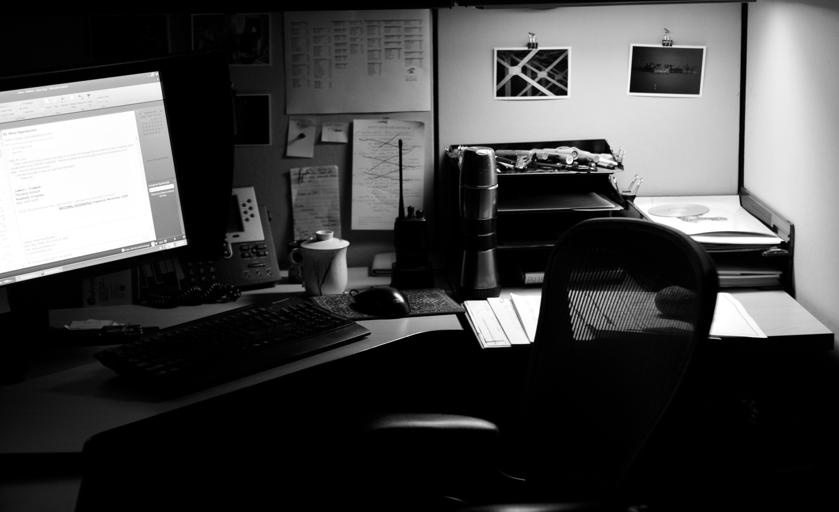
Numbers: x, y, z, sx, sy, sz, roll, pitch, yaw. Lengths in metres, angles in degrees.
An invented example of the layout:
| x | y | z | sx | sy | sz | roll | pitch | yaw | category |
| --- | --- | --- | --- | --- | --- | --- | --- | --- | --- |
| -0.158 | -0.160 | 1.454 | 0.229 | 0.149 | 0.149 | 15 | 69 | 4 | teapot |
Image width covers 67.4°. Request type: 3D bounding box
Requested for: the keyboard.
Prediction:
| x | y | z | sx | sy | sz | roll | pitch | yaw | category |
| --- | --- | --- | --- | --- | --- | --- | --- | --- | --- |
| -0.497 | 0.233 | 1.701 | 0.661 | 0.107 | 0.297 | -9 | 21 | -28 | keyboard |

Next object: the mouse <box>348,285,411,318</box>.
| x | y | z | sx | sy | sz | roll | pitch | yaw | category |
| --- | --- | --- | --- | --- | --- | --- | --- | --- | --- |
| -0.107 | 0.130 | 1.883 | 0.151 | 0.047 | 0.090 | 9 | 13 | 40 | mouse |

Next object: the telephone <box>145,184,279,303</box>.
| x | y | z | sx | sy | sz | roll | pitch | yaw | category |
| --- | --- | --- | --- | --- | --- | --- | --- | --- | --- |
| -0.675 | -0.026 | 2.030 | 0.468 | 0.259 | 0.345 | -10 | 21 | -17 | telephone |
